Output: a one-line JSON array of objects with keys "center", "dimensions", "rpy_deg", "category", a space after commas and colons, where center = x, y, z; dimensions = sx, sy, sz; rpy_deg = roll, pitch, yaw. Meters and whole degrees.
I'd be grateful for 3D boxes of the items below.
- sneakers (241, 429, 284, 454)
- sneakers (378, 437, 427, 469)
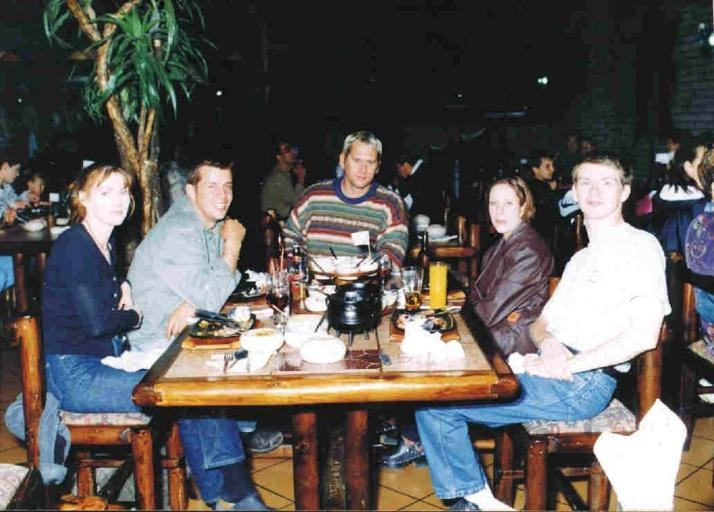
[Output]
[{"center": [-0.651, 1.269, 4.425], "dimensions": [0.200, 0.072, 0.228], "rpy_deg": [2, 7, 1], "category": "sneakers"}, {"center": [0.315, 1.351, 4.467], "dimensions": [0.315, 0.141, 0.161], "rpy_deg": [-1, 3, -10], "category": "sneakers"}]
